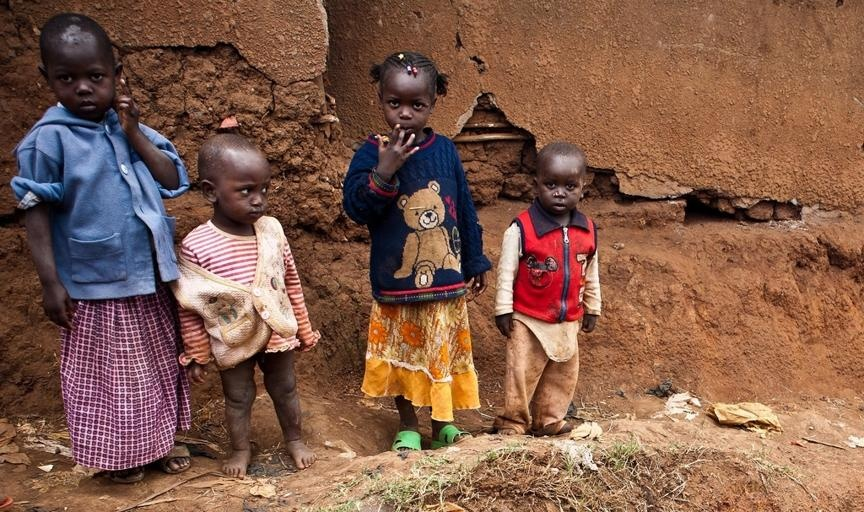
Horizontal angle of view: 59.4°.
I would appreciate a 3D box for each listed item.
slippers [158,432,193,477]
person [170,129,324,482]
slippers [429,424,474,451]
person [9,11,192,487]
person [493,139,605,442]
[{"bbox_3d":[-1.729,1.356,5.134,0.270,0.291,0.772,0,-6,-22],"label":"slippers"},{"bbox_3d":[-1.237,0.339,5.116,0.900,2.264,0.540,-1,15,-9],"label":"person"},{"bbox_3d":[0.121,1.335,5.584,0.131,0.134,0.377,-8,-12,-45],"label":"slippers"},{"bbox_3d":[-2.078,-0.019,4.907,1.013,2.993,0.645,-2,15,-16],"label":"person"},{"bbox_3d":[0.895,0.278,5.725,0.830,2.231,0.462,-2,15,-16],"label":"person"}]
